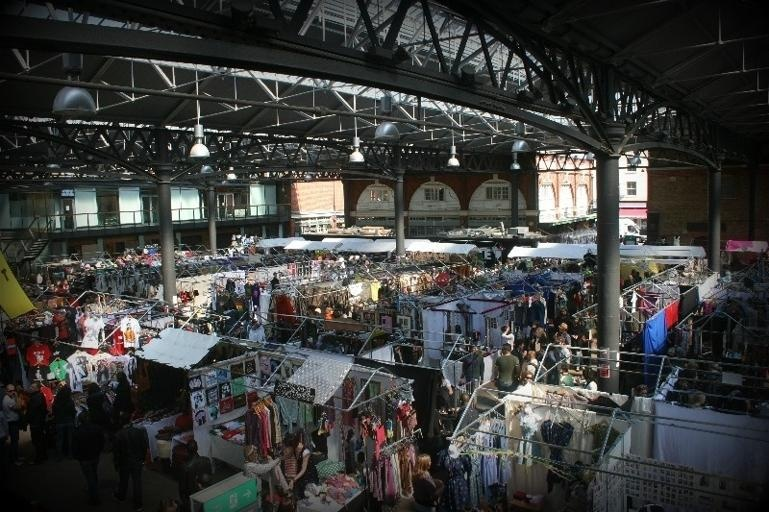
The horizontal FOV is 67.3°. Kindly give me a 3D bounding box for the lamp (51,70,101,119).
[{"bbox_3d":[-6.226,-3.270,11.523,0.807,0.834,0.802,-5,29,-35],"label":"lamp"}]
